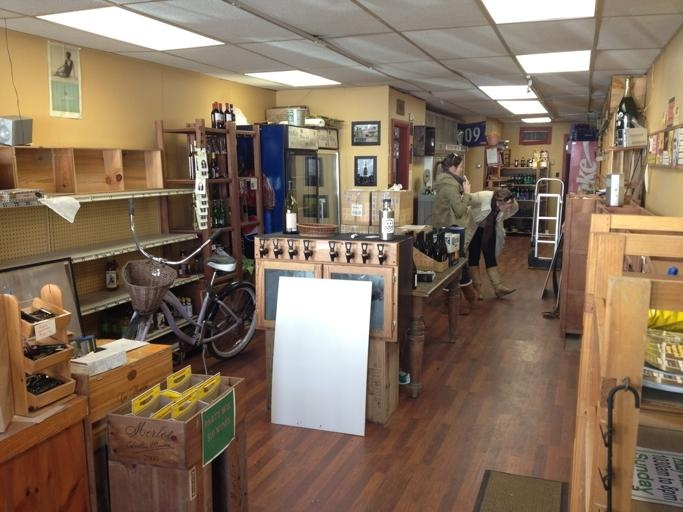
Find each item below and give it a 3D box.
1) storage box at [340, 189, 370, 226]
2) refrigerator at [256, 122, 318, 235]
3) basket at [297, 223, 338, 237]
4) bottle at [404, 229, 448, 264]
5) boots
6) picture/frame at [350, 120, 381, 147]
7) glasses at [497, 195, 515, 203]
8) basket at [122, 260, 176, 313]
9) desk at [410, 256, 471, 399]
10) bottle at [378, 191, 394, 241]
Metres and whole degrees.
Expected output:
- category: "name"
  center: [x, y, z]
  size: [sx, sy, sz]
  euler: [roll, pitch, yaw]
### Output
- category: "storage box"
  center: [0.187, -0.544, 5.614]
  size: [0.338, 0.367, 0.349]
  euler: [1, 2, 17]
- category: "refrigerator"
  center: [-0.835, -0.970, 6.300]
  size: [0.365, 1.348, 0.196]
  euler: [-2, 11, -10]
- category: "basket"
  center: [-0.201, -0.208, 3.996]
  size: [0.322, 0.078, 0.208]
  euler: [0, 12, 2]
- category: "bottle"
  center: [0.914, -0.121, 5.119]
  size: [0.281, 0.176, 0.397]
  euler: [5, 13, 18]
- category: "boots"
  center: [1.841, 0.483, 6.676]
  size: [1.194, 0.545, 0.214]
  euler: [-27, 14, -37]
- category: "picture/frame"
  center: [0.387, -1.894, 7.616]
  size: [0.363, 0.309, 0.038]
  euler: [4, 15, 18]
- category: "glasses"
  center: [2.212, -0.765, 6.703]
  size: [0.223, 0.093, 0.074]
  euler: [-2, 11, -8]
- category: "basket"
  center: [-1.426, 0.251, 3.711]
  size: [0.368, 0.386, 0.335]
  euler: [-3, 12, -12]
- category: "desk"
  center: [0.992, 0.735, 4.990]
  size: [0.515, 0.733, 1.072]
  euler: [2, 8, 23]
- category: "bottle"
  center: [0.355, -0.300, 3.914]
  size: [0.103, 0.290, 0.298]
  euler: [1, 11, 4]
